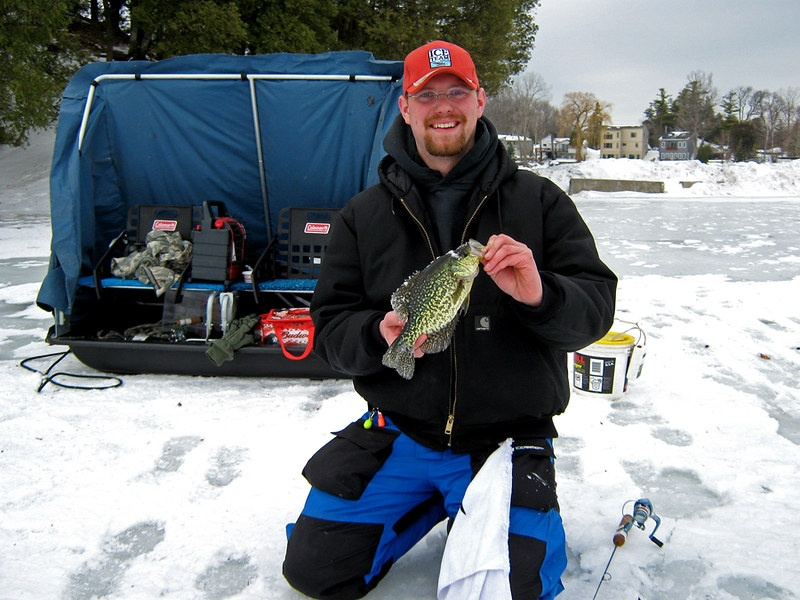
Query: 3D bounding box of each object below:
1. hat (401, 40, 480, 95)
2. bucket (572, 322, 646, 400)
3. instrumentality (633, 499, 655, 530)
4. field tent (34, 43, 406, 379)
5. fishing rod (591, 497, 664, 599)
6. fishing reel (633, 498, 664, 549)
[{"bbox_3d":[0.211,-1.350,3.584,0.338,0.195,0.366,-6,16,-4],"label":"hat"},{"bbox_3d":[1.777,0.486,5.212,0.640,0.634,0.491,0,-1,34],"label":"bucket"},{"bbox_3d":[1.472,1.293,3.742,0.090,0.167,0.127,6,-4,10],"label":"instrumentality"},{"bbox_3d":[-1.497,-0.778,5.822,3.121,2.577,2.019,2,20,-5],"label":"field tent"},{"bbox_3d":[1.371,1.389,3.585,0.260,0.170,0.779,9,15,30],"label":"fishing rod"},{"bbox_3d":[1.509,1.322,3.686,0.112,0.156,0.238,20,11,-21],"label":"fishing reel"}]
